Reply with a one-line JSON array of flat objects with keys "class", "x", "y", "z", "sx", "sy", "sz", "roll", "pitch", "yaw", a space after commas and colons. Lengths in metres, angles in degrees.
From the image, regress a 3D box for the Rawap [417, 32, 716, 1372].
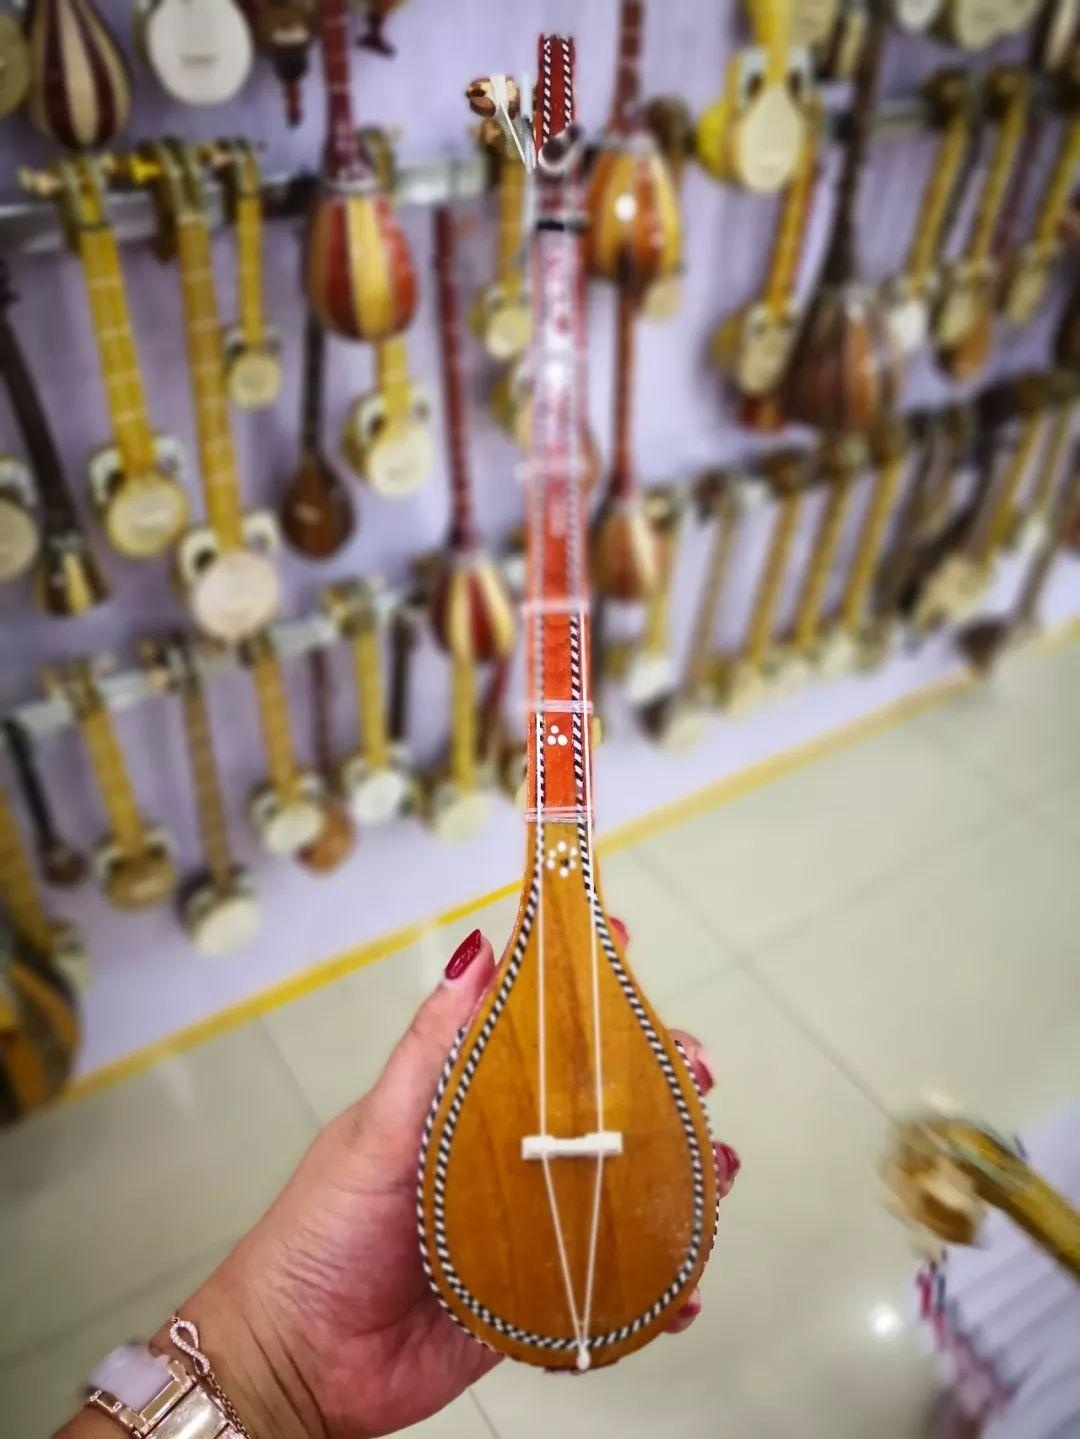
[{"class": "Rawap", "x": 0.040, "y": 0.121, "z": 0.728, "sx": 0.177, "sy": 0.450, "sz": 0.341, "roll": 7, "pitch": 33, "yaw": 8}]
